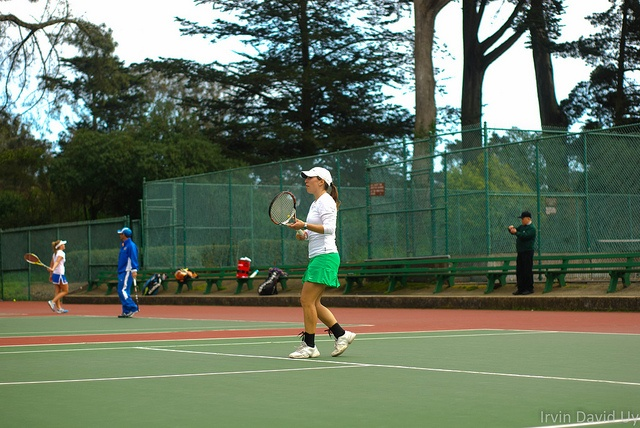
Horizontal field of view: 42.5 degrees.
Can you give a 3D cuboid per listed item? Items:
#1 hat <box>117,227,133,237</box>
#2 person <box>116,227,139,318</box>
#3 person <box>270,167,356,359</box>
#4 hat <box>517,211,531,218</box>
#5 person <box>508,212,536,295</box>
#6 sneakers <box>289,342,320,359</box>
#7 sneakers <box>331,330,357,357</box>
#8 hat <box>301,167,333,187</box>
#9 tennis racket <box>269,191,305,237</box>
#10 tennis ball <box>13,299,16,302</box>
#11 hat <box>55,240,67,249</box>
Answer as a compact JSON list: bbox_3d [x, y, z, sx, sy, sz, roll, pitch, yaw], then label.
[{"bbox_3d":[-6.251,0.544,26.287,0.393,0.222,0.258,23,13,14],"label":"hat"},{"bbox_3d":[-5.298,1.609,22.704,0.511,2.478,0.837,0,-4,-14],"label":"person"},{"bbox_3d":[-0.011,0.791,13.811,0.994,3.204,0.732,-1,-4,-7],"label":"person"},{"bbox_3d":[5.860,-0.011,23.434,0.242,0.127,0.176,4,-3,12],"label":"hat"},{"bbox_3d":[5.799,1.082,23.281,0.592,2.342,0.538,-2,-4,10],"label":"person"},{"bbox_3d":[-0.237,2.292,13.812,0.562,0.267,0.202,1,-5,-13],"label":"sneakers"},{"bbox_3d":[0.408,2.128,13.828,0.253,0.607,0.216,17,33,-15],"label":"sneakers"},{"bbox_3d":[-0.051,-0.687,14.043,0.466,0.234,0.296,17,-5,-11],"label":"hat"},{"bbox_3d":[-0.566,-0.024,15.024,0.226,0.712,0.419,0,17,32],"label":"tennis racket"},{"bbox_3d":[-14.733,4.126,39.618,0.153,0.158,0.156,2,-6,0],"label":"tennis ball"},{"bbox_3d":[-9.275,1.060,29.377,0.476,0.160,0.296,-24,32,13],"label":"hat"}]
